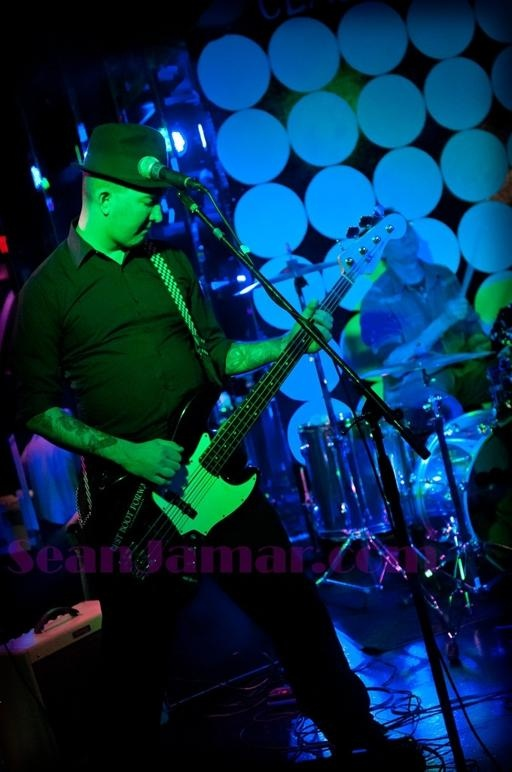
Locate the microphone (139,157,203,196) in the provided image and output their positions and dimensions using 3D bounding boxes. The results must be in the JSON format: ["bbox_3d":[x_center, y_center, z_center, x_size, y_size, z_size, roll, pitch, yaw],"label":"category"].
[{"bbox_3d":[-0.243,-0.579,1.822,0.286,0.081,0.088,18,34,36],"label":"microphone"}]

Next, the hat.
[{"bbox_3d":[-0.396,-0.694,1.998,0.235,0.159,0.309,9,23,26],"label":"hat"}]

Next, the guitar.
[{"bbox_3d":[-0.073,0.049,2.003,0.938,0.875,0.426,-5,10,-16],"label":"guitar"}]
